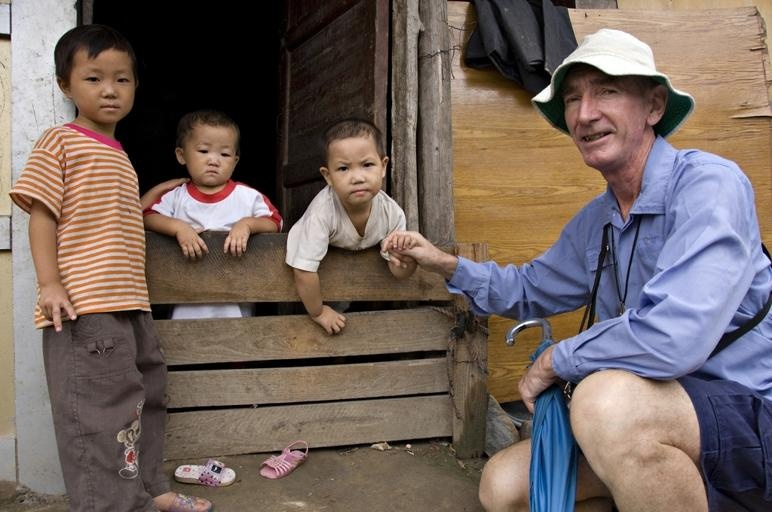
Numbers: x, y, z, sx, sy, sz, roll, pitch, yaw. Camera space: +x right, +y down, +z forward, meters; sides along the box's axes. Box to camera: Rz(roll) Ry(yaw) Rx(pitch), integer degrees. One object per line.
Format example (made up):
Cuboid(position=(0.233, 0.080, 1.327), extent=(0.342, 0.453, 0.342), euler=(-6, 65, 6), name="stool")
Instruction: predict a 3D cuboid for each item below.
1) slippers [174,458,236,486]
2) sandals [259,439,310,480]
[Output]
Cuboid(position=(-1.025, 1.216, 4.285), extent=(0.299, 0.080, 0.147), euler=(2, 25, 0), name="slippers")
Cuboid(position=(-0.583, 1.168, 4.405), extent=(0.131, 0.080, 0.291), euler=(17, 21, 36), name="sandals")
